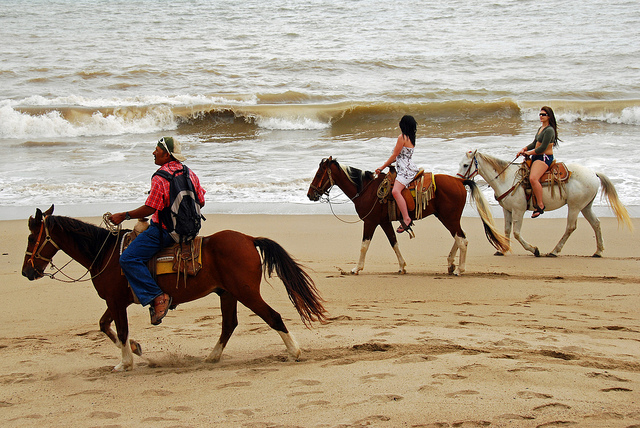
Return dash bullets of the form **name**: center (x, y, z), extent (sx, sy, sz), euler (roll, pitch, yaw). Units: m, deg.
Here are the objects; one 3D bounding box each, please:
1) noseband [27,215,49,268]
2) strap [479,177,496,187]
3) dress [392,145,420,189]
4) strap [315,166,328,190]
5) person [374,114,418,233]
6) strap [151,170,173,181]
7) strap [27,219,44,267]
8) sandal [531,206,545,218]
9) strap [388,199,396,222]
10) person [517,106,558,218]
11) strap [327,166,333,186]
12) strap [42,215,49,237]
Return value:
- **noseband**: center (-8.143, 0.923, 26.924), extent (0.223, 1.337, 0.239), euler (25, -7, -16)
- **strap**: center (6.001, -1.156, 33.406), extent (0.455, 0.127, 0.321), euler (-44, 23, 4)
- **dress**: center (2.793, -1.529, 30.285), extent (0.724, 1.397, 0.263), euler (-7, 12, -17)
- **strap**: center (0.049, -1.178, 30.815), extent (0.094, 0.757, 0.106), euler (30, 5, -27)
- **person**: center (2.615, -1.249, 30.334), extent (1.127, 3.915, 0.833), euler (-2, 12, 11)
- **strap**: center (-4.454, -1.126, 26.526), extent (0.370, 0.325, 0.264), euler (-18, 18, 7)
- **strap**: center (-8.129, 0.854, 26.856), extent (0.220, 1.387, 0.245), euler (20, -1, 31)
- **sandal**: center (7.505, -0.089, 32.156), extent (0.511, 0.134, 0.178), euler (-35, 11, 21)
- **strap**: center (2.346, -0.102, 30.430), extent (0.239, 0.684, 0.143), euler (-4, 11, 2)
- **person**: center (7.480, -1.726, 31.702), extent (1.119, 3.881, 0.808), euler (-1, 12, 13)
- **strap**: center (0.339, -1.251, 30.856), extent (0.102, 0.509, 0.110), euler (-20, 9, 0)
- **strap**: center (-7.847, 0.392, 26.906), extent (0.116, 0.717, 0.114), euler (-16, -7, 21)
